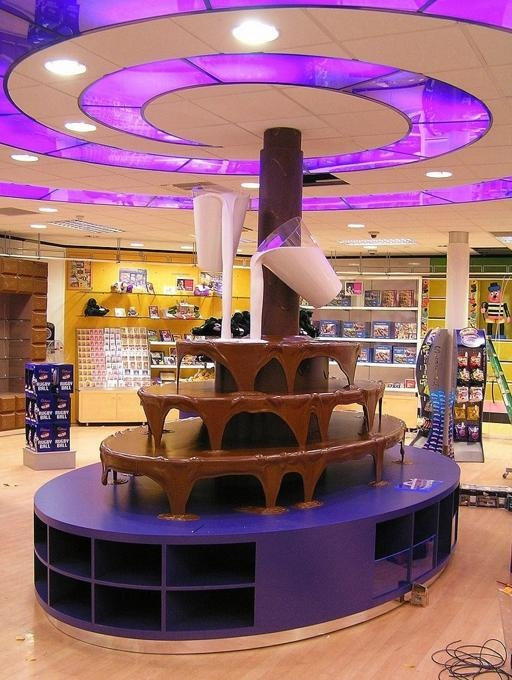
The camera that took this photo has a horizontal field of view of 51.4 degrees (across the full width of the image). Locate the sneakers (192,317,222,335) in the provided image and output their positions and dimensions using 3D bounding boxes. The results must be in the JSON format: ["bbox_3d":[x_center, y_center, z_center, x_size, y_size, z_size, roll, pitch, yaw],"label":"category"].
[{"bbox_3d":[-0.442,-0.123,5.054,0.191,0.097,0.241,-1,-2,-36],"label":"sneakers"}]

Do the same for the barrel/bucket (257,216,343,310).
[{"bbox_3d":[0.287,-0.596,3.718,0.693,0.662,0.422,6,-6,-44],"label":"barrel/bucket"}]
